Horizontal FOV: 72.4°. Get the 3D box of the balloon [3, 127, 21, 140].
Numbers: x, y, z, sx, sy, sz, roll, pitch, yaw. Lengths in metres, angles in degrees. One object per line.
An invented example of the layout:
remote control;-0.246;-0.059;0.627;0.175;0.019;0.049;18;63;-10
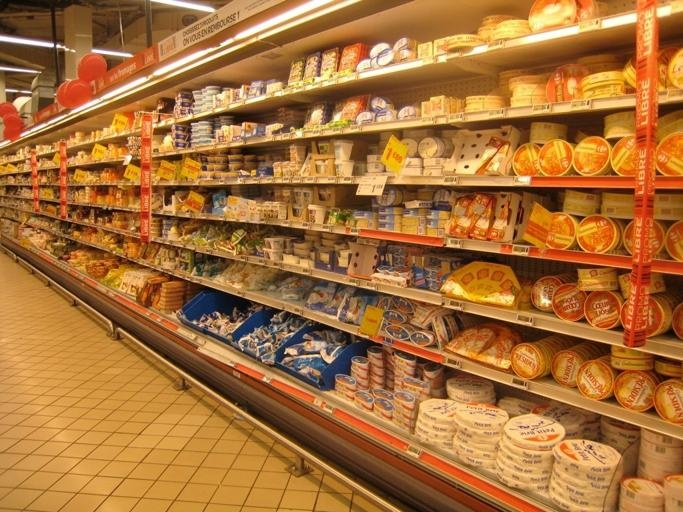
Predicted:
balloon;-6.942;-2.571;9.820;0.349;0.179;0.310;0;3;26
